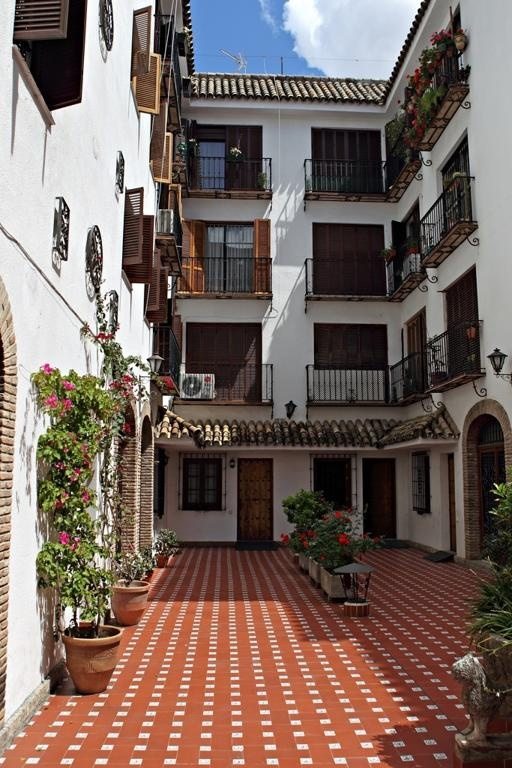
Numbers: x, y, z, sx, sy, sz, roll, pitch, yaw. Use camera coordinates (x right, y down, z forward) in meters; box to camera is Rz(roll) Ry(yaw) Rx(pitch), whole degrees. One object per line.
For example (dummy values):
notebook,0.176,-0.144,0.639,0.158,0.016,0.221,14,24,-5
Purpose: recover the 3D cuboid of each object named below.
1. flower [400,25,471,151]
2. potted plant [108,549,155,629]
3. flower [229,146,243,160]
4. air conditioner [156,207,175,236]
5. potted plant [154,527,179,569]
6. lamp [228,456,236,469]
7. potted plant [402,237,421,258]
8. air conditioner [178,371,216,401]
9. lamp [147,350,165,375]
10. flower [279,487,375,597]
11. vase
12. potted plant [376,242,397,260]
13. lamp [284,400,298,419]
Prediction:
flower,3.991,-6.257,14.166,0.694,1.196,2.819,4,-33,6
potted plant,-1.648,2.653,8.285,0.493,1.026,0.532,4,-6,-32
flower,-0.619,-7.109,19.572,0.402,0.632,0.409,0,-8,2
air conditioner,-1.746,-3.052,12.085,0.322,0.652,0.431,2,-8,-12
potted plant,-1.966,3.569,13.753,0.476,0.752,1.542,2,-9,-10
lamp,-0.655,2.239,17.653,0.184,0.311,0.079,3,-8,-21
potted plant,4.221,-3.674,17.190,0.416,0.572,0.392,0,-2,-6
air conditioner,-1.676,0.121,18.051,0.972,0.724,0.824,1,7,1
lamp,-1.831,-0.372,11.585,0.280,0.473,0.363,0,-9,3
flower,1.191,2.769,11.189,0.840,1.648,3.129,0,-16,-3
vase,-1.407,2.300,5.366,0.508,0.517,0.522,6,-9,-37
potted plant,3.933,-3.886,18.819,0.346,0.365,0.437,2,-2,-3
lamp,1.001,0.759,18.293,0.328,0.540,0.378,0,-8,3
